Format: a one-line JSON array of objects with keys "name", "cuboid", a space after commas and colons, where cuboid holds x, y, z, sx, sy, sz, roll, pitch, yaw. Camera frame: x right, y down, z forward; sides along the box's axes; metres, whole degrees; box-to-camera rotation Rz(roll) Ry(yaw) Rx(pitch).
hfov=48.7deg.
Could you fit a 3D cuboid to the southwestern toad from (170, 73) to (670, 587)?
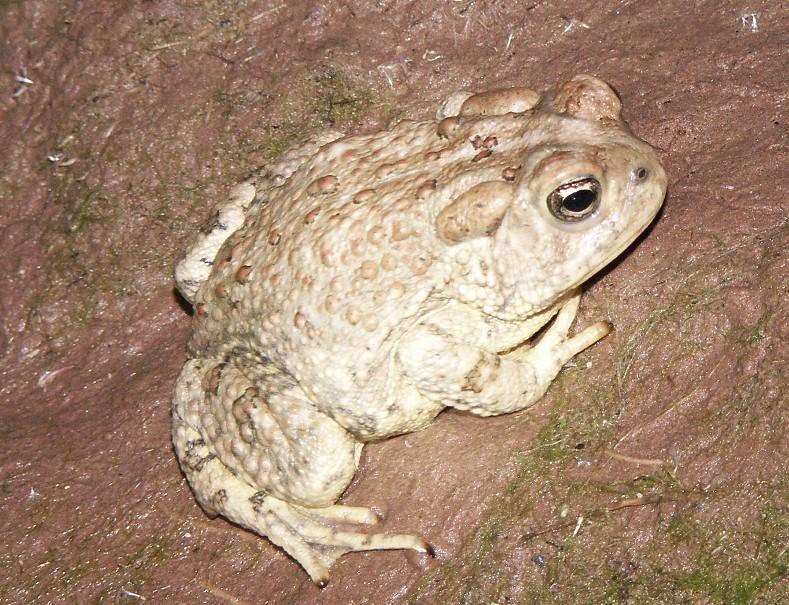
[{"name": "southwestern toad", "cuboid": [-0.065, -0.418, 6.411, 4.424, 1.765, 3.394, -33, 46, -1]}]
